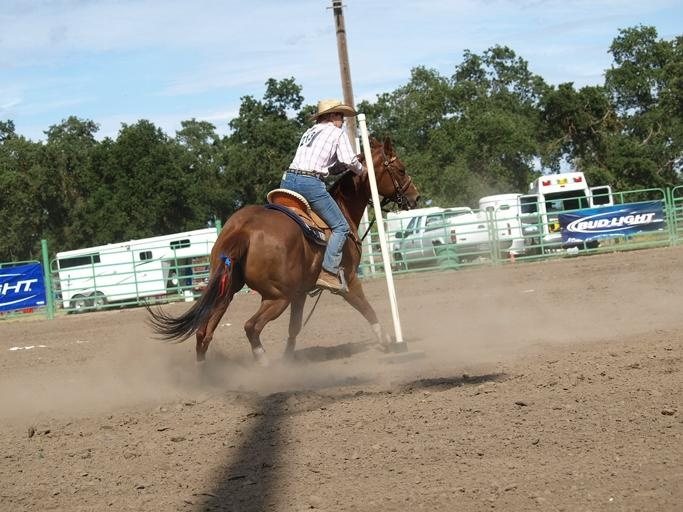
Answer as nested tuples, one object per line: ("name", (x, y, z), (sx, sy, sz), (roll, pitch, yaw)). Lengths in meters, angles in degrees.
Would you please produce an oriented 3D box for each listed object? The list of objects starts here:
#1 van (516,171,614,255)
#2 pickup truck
("van", (6.167, -1.243, 24.828), (2.315, 2.158, 6.800), (-4, 6, 12))
("pickup truck", (2.892, -0.503, 23.041), (1.686, 1.255, 2.923), (-2, 0, -28))
